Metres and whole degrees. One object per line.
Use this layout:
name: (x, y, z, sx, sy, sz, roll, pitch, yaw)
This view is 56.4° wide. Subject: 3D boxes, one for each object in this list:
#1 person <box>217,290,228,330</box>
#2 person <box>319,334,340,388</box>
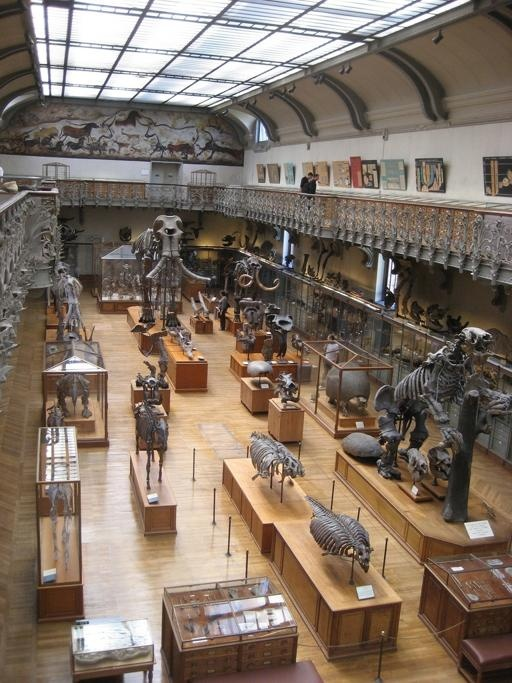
person: (-1.526, -1.401, 21.587, 0.383, 1.756, 1.211, 2, 8, -7)
person: (1.869, 0.633, 12.018, 0.407, 1.195, 1.135, 4, 8, 8)
